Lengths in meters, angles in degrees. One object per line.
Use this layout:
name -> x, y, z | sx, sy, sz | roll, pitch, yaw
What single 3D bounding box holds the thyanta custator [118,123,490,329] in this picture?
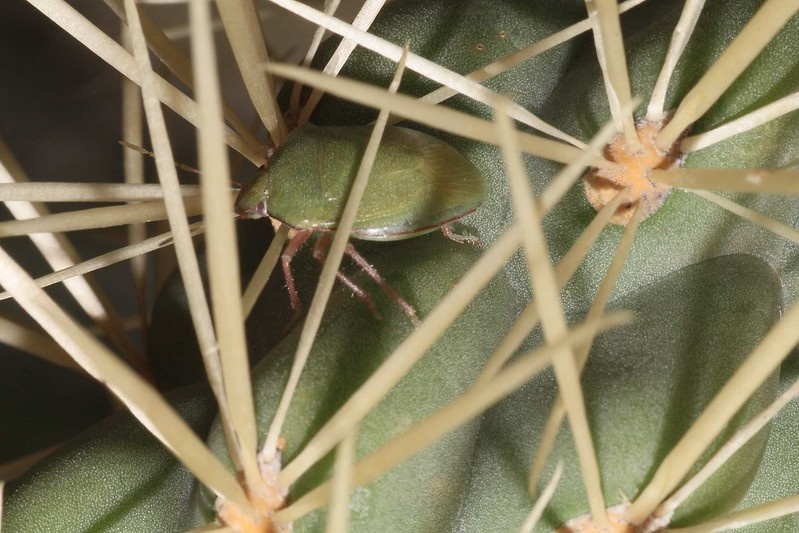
thyanta custator -> -0.074, -0.072, 0.931 | 0.279, 0.084, 0.223 | 2, -102, 14
